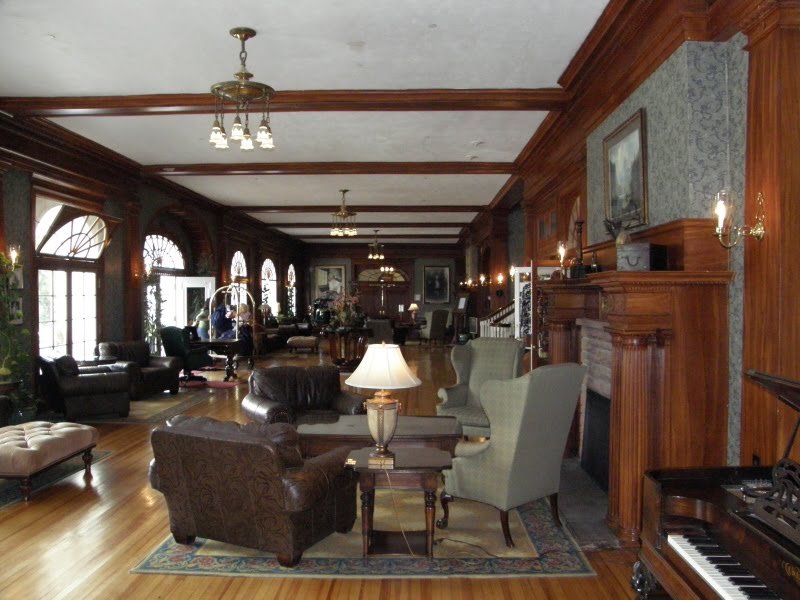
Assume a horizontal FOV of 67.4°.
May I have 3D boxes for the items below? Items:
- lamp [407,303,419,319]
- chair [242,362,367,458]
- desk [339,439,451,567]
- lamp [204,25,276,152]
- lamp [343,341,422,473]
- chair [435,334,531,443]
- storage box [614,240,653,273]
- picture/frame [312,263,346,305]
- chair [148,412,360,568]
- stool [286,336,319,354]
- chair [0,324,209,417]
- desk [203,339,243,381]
[{"bbox_3d":[0.467,0.361,21.952,0.480,0.742,0.498,0,-6,2],"label":"lamp"},{"bbox_3d":[-1.025,1.094,6.467,1.020,0.865,0.725,4,-12,-29],"label":"chair"},{"bbox_3d":[-0.002,1.658,4.744,0.830,0.665,0.815,-2,-13,12],"label":"desk"},{"bbox_3d":[-1.571,-2.140,6.023,0.668,1.106,0.685,9,13,29],"label":"lamp"},{"bbox_3d":[-0.137,0.837,4.914,0.572,1.009,0.930,0,6,2],"label":"lamp"},{"bbox_3d":[0.918,0.966,7.100,1.189,1.689,1.103,-1,-10,26],"label":"chair"},{"bbox_3d":[1.889,-0.351,4.858,0.228,0.206,0.236,-1,-4,15],"label":"storage box"},{"bbox_3d":[-2.531,-0.595,21.455,1.513,1.850,0.123,1,-8,1],"label":"picture/frame"},{"bbox_3d":[-1.080,1.008,4.850,1.527,1.198,1.095,2,4,26],"label":"chair"},{"bbox_3d":[-2.719,1.228,16.807,0.809,0.489,1.096,-1,6,-9],"label":"stool"},{"bbox_3d":[-4.293,1.173,9.214,1.362,1.067,2.486,2,6,16],"label":"chair"},{"bbox_3d":[-3.453,1.175,11.916,0.779,0.810,0.715,0,-8,-3],"label":"desk"}]
